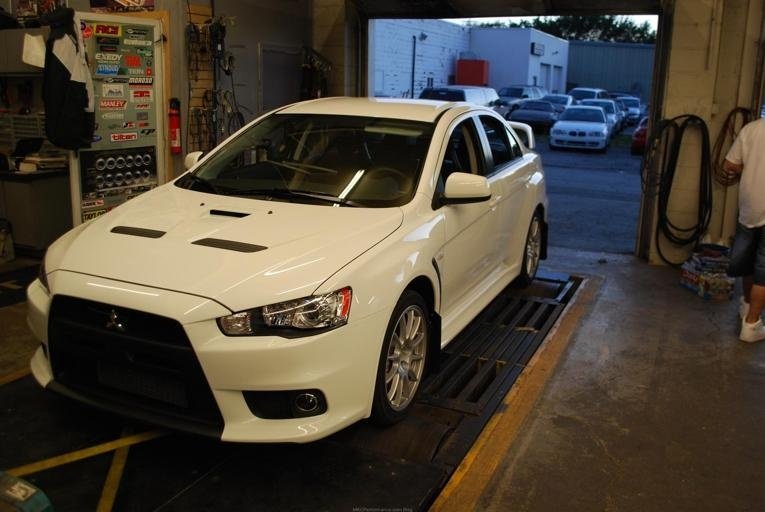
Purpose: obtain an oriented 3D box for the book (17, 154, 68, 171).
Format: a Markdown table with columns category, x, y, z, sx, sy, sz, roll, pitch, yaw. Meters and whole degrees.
| category | x | y | z | sx | sy | sz | roll | pitch | yaw |
| --- | --- | --- | --- | --- | --- | --- | --- | --- | --- |
| book | -4.536 | -1.230 | 6.783 | 0.320 | 0.154 | 0.446 | 0 | 7 | 12 |
